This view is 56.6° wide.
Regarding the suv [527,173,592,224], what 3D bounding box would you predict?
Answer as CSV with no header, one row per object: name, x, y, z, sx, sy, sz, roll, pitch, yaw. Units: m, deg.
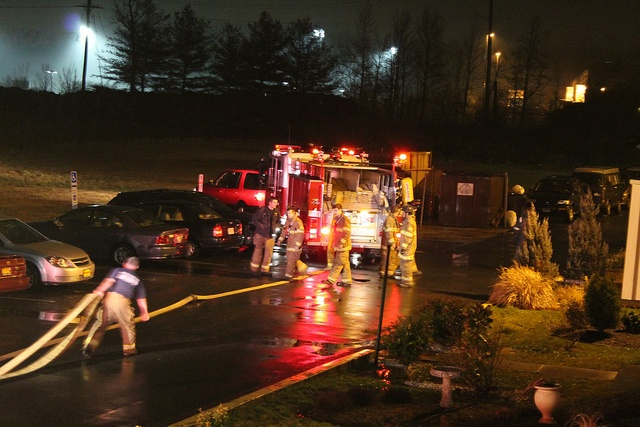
suv,12.240,-0.785,30.220,2.184,1.791,3.644,5,18,25

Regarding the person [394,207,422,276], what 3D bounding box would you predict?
person,2.327,0.821,16.385,0.725,2.124,0.916,4,15,16

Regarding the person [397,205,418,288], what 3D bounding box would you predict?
person,2.406,0.846,16.217,0.648,1.889,0.651,2,0,5

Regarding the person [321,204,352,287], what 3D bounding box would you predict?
person,0.544,0.853,16.249,0.757,2.153,0.861,-1,-6,16

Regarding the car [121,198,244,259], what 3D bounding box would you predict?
car,-4.468,0.375,19.499,3.703,1.070,1.554,10,10,29

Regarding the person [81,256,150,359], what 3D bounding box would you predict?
person,-3.586,1.606,10.378,1.037,1.654,0.553,0,8,-15

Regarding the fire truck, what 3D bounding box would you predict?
fire truck,0.265,-0.601,21.523,3.606,2.816,5.881,3,9,-22

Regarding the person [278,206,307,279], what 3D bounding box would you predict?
person,-0.765,0.807,16.893,0.738,1.940,1.348,1,8,-4

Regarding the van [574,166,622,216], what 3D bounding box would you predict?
van,15.422,-1.294,32.262,2.327,2.501,7.305,3,3,41

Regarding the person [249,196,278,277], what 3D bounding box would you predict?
person,-1.565,0.598,17.074,0.825,1.988,0.704,0,0,7

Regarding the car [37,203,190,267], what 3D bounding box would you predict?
car,-6.282,0.548,17.819,4.591,1.307,1.841,7,6,18
